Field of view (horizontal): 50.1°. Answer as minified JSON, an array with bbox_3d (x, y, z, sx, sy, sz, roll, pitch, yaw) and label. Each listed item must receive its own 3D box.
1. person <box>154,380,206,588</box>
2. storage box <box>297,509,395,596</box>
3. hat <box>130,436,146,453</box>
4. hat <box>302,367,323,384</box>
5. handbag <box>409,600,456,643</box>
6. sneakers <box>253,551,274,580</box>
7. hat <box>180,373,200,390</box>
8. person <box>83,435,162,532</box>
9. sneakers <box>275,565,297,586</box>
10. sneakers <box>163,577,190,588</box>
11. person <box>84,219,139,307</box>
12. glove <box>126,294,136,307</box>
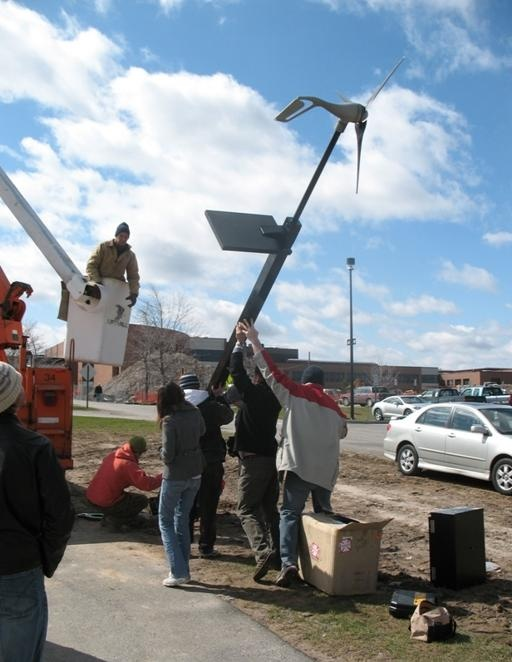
[{"bbox_3d":[-0.710,1.293,4.808,0.475,1.651,0.564,7,-5,-9],"label":"person"},{"bbox_3d":[0.709,1.873,4.703,0.449,0.540,0.824,8,-12,-17],"label":"storage box"},{"bbox_3d":[-1.407,1.346,6.460,0.185,0.174,0.237,1,-14,2],"label":"hat"},{"bbox_3d":[0.546,0.421,5.176,0.196,0.168,0.150,1,2,38],"label":"hat"},{"bbox_3d":[1.182,1.929,3.678,0.197,0.157,0.274,-3,-7,30],"label":"handbag"},{"bbox_3d":[0.050,2.005,4.662,0.133,0.305,0.190,7,-5,-11],"label":"sneakers"},{"bbox_3d":[-0.702,0.541,5.798,0.197,0.166,0.185,1,-9,-14],"label":"hat"},{"bbox_3d":[-1.663,1.953,6.961,1.033,1.108,0.929,16,-7,-33],"label":"person"},{"bbox_3d":[0.254,2.024,4.536,0.118,0.116,0.256,8,-41,-11],"label":"sneakers"},{"bbox_3d":[-0.672,2.079,4.563,0.219,0.090,0.079,8,-3,-10],"label":"sneakers"},{"bbox_3d":[-1.418,-0.687,5.530,0.528,0.872,0.331,8,-5,-26],"label":"person"},{"bbox_3d":[-1.239,-0.302,5.442,0.085,0.133,0.219,7,-5,-16],"label":"glove"}]
